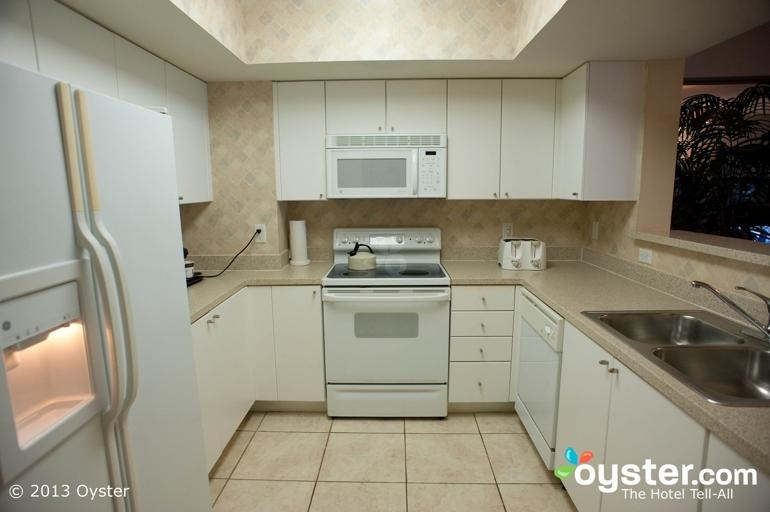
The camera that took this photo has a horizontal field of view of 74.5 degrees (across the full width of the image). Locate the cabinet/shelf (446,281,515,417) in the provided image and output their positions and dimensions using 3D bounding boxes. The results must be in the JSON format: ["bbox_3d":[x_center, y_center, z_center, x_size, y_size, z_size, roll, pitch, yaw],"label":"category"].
[{"bbox_3d":[0.681,0.609,3.516,0.444,0.820,0.121,0,11,-10],"label":"cabinet/shelf"}]

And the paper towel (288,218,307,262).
[{"bbox_3d":[-0.658,-0.105,3.911,0.142,0.345,0.134,-1,11,-13],"label":"paper towel"}]

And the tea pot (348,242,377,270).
[{"bbox_3d":[-0.148,0.000,3.772,0.188,0.199,0.208,0,0,12],"label":"tea pot"}]

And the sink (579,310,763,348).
[{"bbox_3d":[1.502,0.378,2.665,0.398,0.159,0.330,-1,9,-13],"label":"sink"}]

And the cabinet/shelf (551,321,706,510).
[{"bbox_3d":[1.187,0.749,2.422,0.371,0.842,0.960,1,7,2],"label":"cabinet/shelf"}]

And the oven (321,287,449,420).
[{"bbox_3d":[0.046,0.700,3.770,0.905,0.936,0.699,-1,-2,11],"label":"oven"}]
